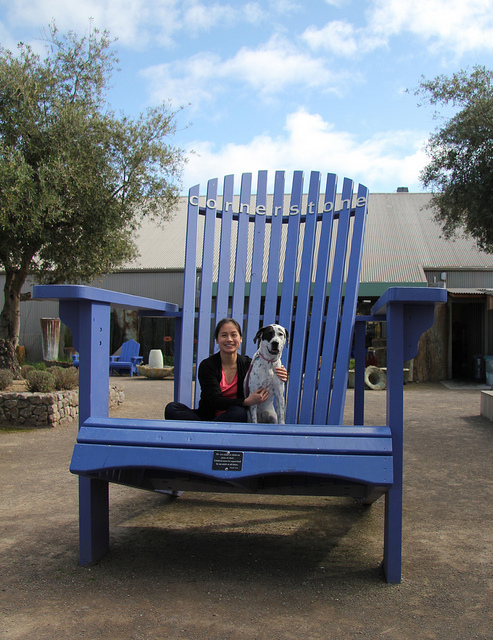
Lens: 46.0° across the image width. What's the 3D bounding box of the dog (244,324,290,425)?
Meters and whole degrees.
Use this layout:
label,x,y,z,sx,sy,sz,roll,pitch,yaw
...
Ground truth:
label,x,y,z,sx,sy,sz,roll,pitch,yaw
dog,0.104,0.287,3.035,0.221,0.526,0.437,0,-2,3
